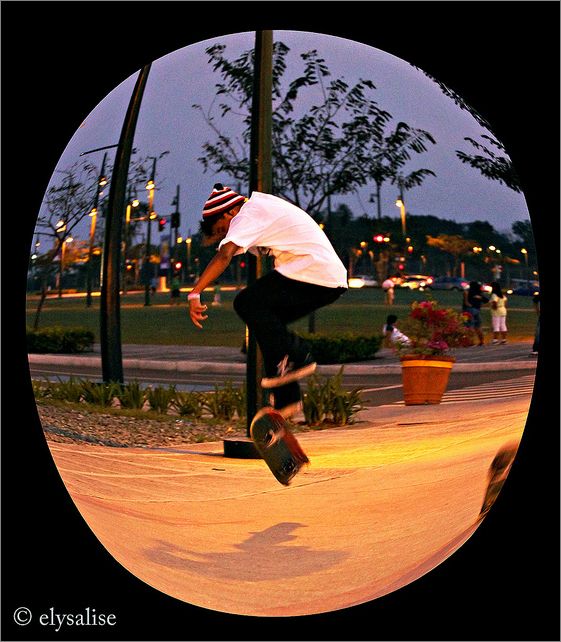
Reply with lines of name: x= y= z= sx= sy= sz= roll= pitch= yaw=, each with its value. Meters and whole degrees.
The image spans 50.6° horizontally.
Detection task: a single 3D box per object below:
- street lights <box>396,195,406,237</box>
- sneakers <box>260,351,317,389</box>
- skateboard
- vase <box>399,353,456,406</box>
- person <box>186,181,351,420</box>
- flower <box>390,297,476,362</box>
street lights: x=0.589 y=-0.498 z=2.894 sx=0.037 sy=0.185 sz=0.123 roll=5 pitch=9 yaw=24
sneakers: x=0.045 y=0.247 z=2.836 sx=0.323 sy=0.128 sz=0.102 roll=-26 pitch=-2 yaw=-5
skateboard: x=-0.004 y=0.583 z=2.688 sx=0.174 sy=0.191 sz=0.304 roll=-32 pitch=51 yaw=-5
vase: x=0.703 y=0.306 z=2.914 sx=0.292 sy=0.215 sz=0.283 roll=0 pitch=-14 yaw=13
person: x=-0.022 y=-0.129 z=3.023 sx=0.900 sy=1.145 sz=0.701 roll=-1 pitch=-4 yaw=26
flower: x=0.736 y=0.066 z=2.976 sx=0.393 sy=0.325 sz=0.313 roll=0 pitch=4 yaw=-13
